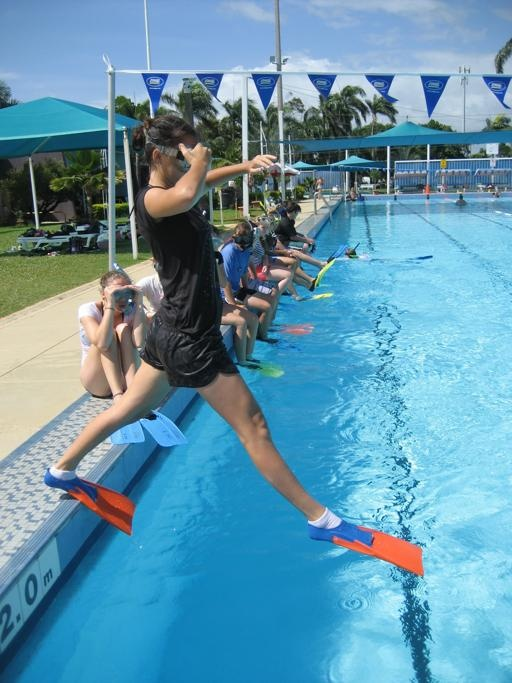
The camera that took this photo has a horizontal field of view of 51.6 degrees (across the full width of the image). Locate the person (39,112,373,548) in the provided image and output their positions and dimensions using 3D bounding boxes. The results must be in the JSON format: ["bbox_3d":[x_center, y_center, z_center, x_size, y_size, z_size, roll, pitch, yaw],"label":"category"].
[{"bbox_3d":[-0.179,-0.028,1.989,1.401,1.516,0.784,1,8,15],"label":"person"}]
